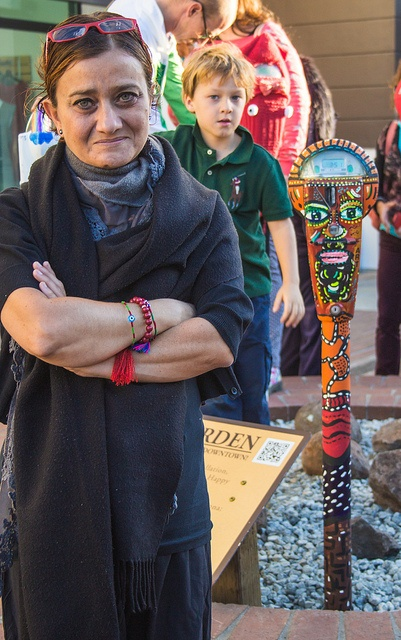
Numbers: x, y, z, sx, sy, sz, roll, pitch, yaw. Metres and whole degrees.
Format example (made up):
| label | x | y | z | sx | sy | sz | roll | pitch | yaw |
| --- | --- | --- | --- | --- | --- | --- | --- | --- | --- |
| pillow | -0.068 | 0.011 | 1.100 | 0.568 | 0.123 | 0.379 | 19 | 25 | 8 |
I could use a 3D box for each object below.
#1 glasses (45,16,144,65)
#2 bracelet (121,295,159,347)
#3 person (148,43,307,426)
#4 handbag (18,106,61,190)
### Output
| label | x | y | z | sx | sy | sz | roll | pitch | yaw |
| --- | --- | --- | --- | --- | --- | --- | --- | --- | --- |
| glasses | -0.192 | -0.515 | 1.090 | 0.185 | 0.080 | 0.095 | -4 | 10 | -11 |
| bracelet | -0.107 | 0.005 | 1.128 | 0.032 | 0.090 | 0.067 | -10 | 6 | 5 |
| person | 0.072 | -0.266 | 2.846 | 0.809 | 1.874 | 0.608 | 6 | 20 | 23 |
| handbag | -0.791 | -0.861 | 2.941 | 0.159 | 0.380 | 0.154 | 7 | 18 | 18 |
